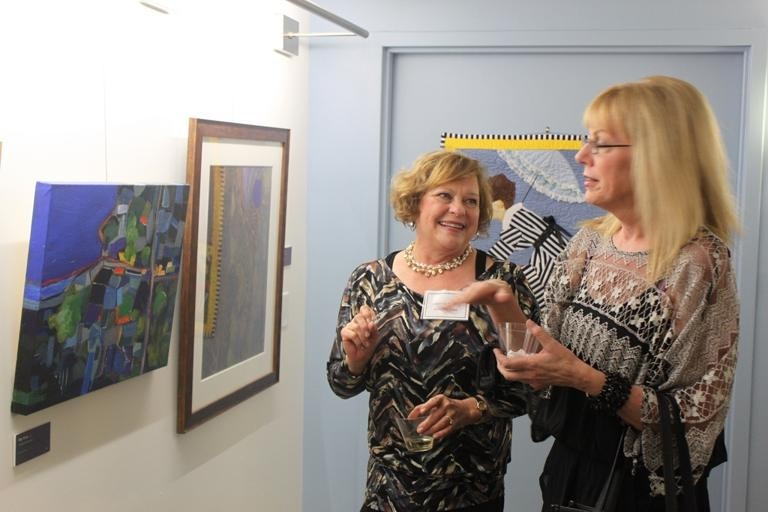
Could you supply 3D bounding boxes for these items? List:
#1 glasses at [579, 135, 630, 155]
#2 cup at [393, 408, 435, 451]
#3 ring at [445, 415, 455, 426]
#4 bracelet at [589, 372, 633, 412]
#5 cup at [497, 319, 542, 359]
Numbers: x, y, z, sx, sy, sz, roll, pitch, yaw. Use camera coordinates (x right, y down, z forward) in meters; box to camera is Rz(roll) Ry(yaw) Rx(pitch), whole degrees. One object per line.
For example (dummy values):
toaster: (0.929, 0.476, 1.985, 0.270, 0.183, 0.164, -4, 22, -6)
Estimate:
glasses: (0.753, -0.367, 1.925, 0.112, 0.033, 0.106, 4, 2, -13)
cup: (0.104, 0.630, 2.104, 0.139, 0.107, 0.137, -3, -9, 0)
ring: (0.229, 0.572, 2.005, 0.024, 0.029, 0.028, -9, -21, 26)
bracelet: (0.730, 0.443, 1.858, 0.119, 0.124, 0.041, 2, 8, 15)
cup: (0.443, 0.279, 1.904, 0.119, 0.080, 0.116, 1, -7, 0)
